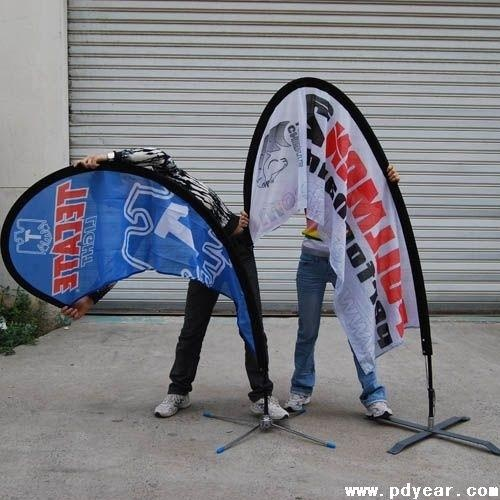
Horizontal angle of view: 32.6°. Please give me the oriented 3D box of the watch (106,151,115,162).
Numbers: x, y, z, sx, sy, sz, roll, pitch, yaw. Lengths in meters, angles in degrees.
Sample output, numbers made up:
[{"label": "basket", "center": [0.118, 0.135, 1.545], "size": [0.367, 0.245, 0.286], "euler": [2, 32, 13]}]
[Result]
[{"label": "watch", "center": [-0.896, -0.606, 5.485], "size": [0.064, 0.057, 0.047], "euler": [-1, 12, -7]}]

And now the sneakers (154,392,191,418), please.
[{"label": "sneakers", "center": [-0.528, 1.060, 5.837], "size": [0.102, 0.121, 0.285], "euler": [20, 13, 38]}]

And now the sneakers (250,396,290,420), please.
[{"label": "sneakers", "center": [0.129, 1.069, 5.774], "size": [0.292, 0.126, 0.113], "euler": [3, 6, 43]}]

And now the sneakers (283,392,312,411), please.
[{"label": "sneakers", "center": [0.322, 1.057, 5.893], "size": [0.081, 0.093, 0.220], "euler": [3, -2, 24]}]

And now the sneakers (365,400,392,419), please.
[{"label": "sneakers", "center": [0.861, 1.083, 5.756], "size": [0.083, 0.083, 0.188], "euler": [3, -8, -29]}]
